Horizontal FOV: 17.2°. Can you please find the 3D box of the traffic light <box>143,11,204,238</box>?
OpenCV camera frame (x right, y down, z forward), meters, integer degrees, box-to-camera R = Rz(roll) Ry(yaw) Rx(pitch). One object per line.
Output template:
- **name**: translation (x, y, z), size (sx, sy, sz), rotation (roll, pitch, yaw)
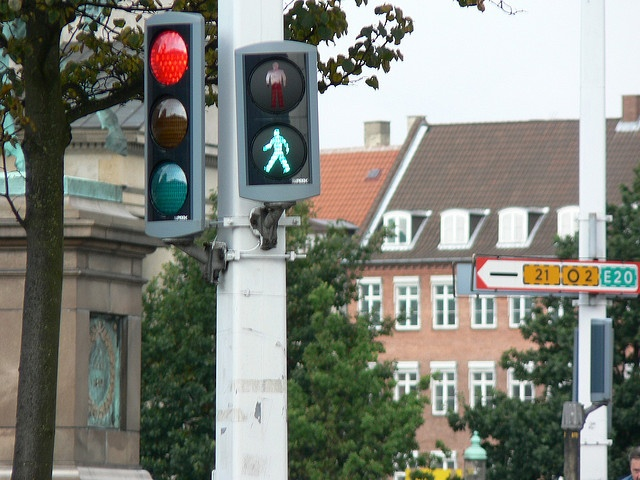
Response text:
- **traffic light**: translation (-1.850, -1.478, 26.866), size (0.756, 2.775, 0.519), rotation (0, -7, -6)
